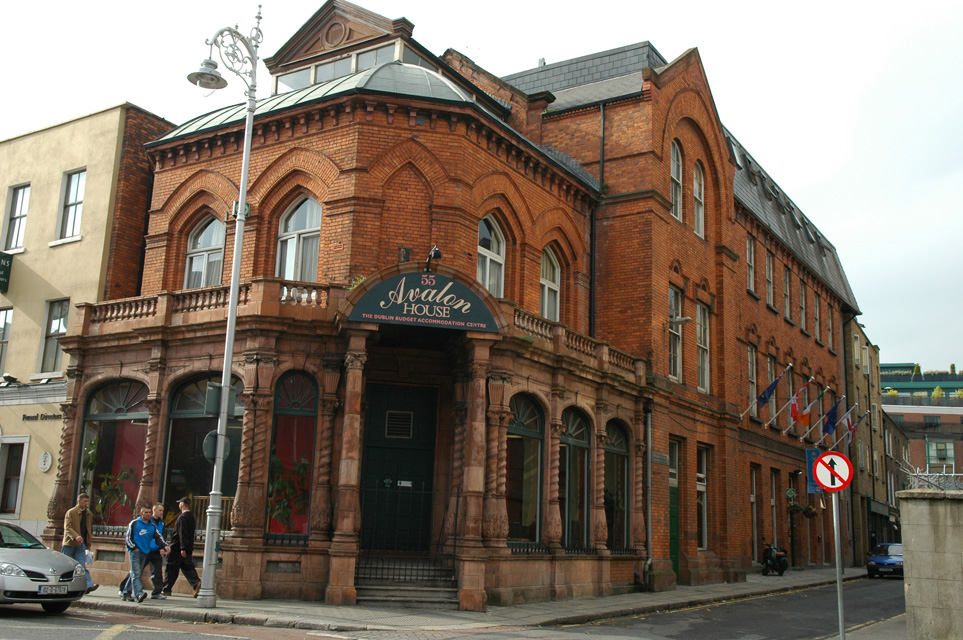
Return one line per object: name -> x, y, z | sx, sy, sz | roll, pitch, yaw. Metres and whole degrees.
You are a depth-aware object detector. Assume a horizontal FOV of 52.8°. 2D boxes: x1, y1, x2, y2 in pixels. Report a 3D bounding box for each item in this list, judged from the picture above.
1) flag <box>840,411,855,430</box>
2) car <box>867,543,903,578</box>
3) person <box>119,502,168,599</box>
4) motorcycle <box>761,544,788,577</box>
flag -> 21.065, 5.805, 55.785 | 0.225, 1.142, 1.664 | 7, -3, 27
car -> 20.084, 11.959, 48.181 | 1.629, 1.743, 2.673 | -6, -20, 15
person -> -9.426, 6.535, 27.096 | 0.824, 2.683, 1.080 | -14, -23, 33
motorcycle -> 13.465, 11.018, 44.579 | 1.099, 1.595, 1.371 | -6, -20, 14
